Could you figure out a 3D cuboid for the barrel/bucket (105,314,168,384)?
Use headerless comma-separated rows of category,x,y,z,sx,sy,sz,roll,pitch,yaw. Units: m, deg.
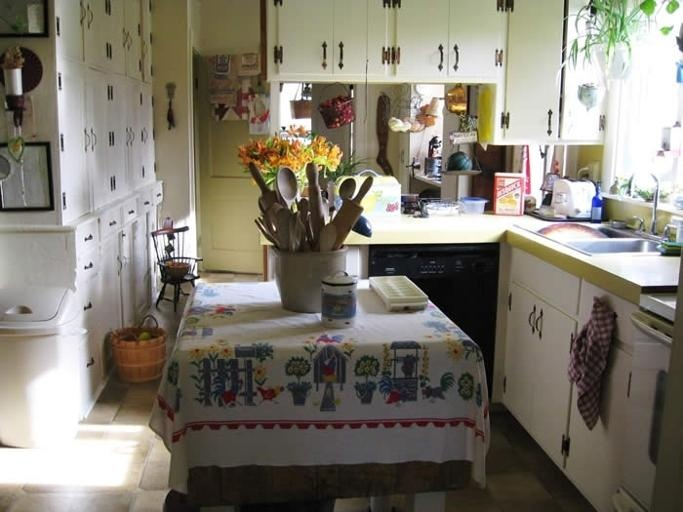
barrel/bucket,-1.378,0.631,3.948,0.408,0.538,0.461,2,4,-2

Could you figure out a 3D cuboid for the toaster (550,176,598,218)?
toaster,1.514,-0.380,3.560,0.189,0.254,0.281,-3,10,-15

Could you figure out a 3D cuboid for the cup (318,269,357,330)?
cup,-0.006,0.153,1.859,0.136,0.221,0.147,2,5,0

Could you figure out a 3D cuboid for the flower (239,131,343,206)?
flower,-0.263,-0.427,2.439,0.491,0.324,0.511,1,6,-14

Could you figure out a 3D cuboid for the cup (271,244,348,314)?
cup,-0.120,0.062,2.034,0.229,0.198,0.240,2,6,0

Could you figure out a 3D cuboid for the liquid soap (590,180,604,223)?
liquid soap,1.645,-0.345,3.479,0.077,0.228,0.207,6,16,25

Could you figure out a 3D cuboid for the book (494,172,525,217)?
book,1.111,-0.410,3.600,0.234,0.376,0.248,3,12,12

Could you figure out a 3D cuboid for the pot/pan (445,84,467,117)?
pot/pan,0.788,-1.062,3.693,0.126,0.206,0.093,0,14,-1

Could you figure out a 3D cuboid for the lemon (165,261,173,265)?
lemon,-1.591,0.059,5.015,0.050,0.032,0.054,3,0,10

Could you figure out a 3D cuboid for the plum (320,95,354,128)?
plum,-0.031,-0.938,3.522,0.220,0.199,0.182,0,15,-1
